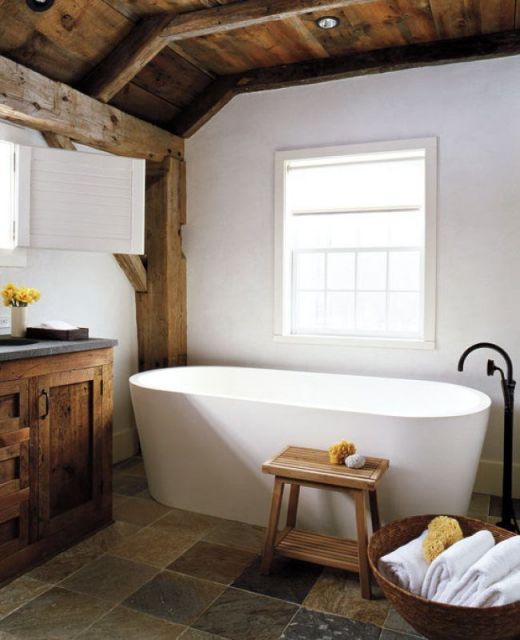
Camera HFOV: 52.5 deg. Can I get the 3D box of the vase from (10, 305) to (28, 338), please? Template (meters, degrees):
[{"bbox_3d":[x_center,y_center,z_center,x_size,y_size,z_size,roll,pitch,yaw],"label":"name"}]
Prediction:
[{"bbox_3d":[-1.129,0.012,2.474,0.058,0.144,0.035,-1,2,-27],"label":"vase"}]

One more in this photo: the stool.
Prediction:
[{"bbox_3d":[0.271,0.796,2.157,0.450,0.445,0.391,1,2,21],"label":"stool"}]
